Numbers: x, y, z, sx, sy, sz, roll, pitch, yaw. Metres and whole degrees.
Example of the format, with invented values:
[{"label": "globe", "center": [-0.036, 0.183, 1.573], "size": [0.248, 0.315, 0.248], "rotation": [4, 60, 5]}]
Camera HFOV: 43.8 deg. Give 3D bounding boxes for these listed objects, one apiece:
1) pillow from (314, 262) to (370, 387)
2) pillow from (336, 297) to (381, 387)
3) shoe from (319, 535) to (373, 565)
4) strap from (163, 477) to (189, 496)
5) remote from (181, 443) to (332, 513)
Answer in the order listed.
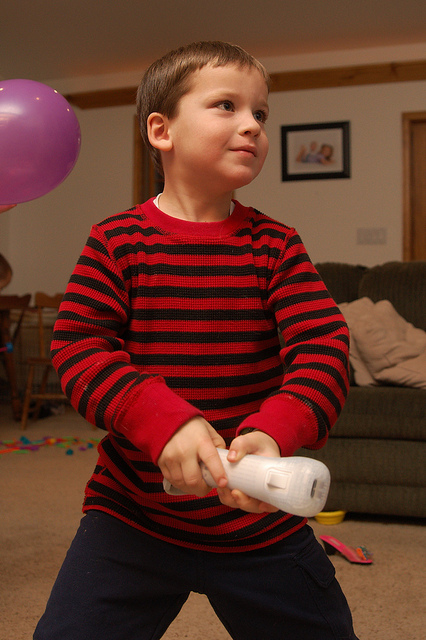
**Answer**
[{"label": "pillow", "center": [0.616, 0.001, 2.685], "size": [0.442, 0.549, 0.169], "rotation": [-1, -1, -8]}, {"label": "pillow", "center": [0.573, 0.086, 2.108], "size": [0.101, 0.321, 0.291], "rotation": [-26, -14, 15]}, {"label": "shoe", "center": [0.402, 0.671, 1.593], "size": [0.152, 0.071, 0.189], "rotation": [2, 1, 17]}, {"label": "strap", "center": [-0.031, 0.139, 0.447], "size": [0.015, 0.015, 0.019], "rotation": [2, -14, 15]}, {"label": "remote", "center": [0.018, 0.108, 0.429], "size": [0.143, 0.042, 0.043], "rotation": [6, 14, 35]}]
